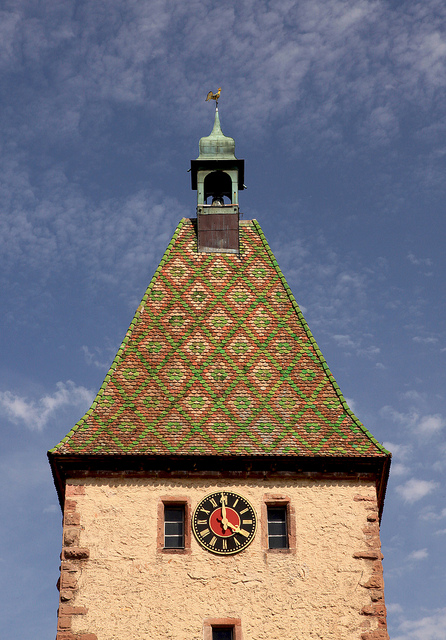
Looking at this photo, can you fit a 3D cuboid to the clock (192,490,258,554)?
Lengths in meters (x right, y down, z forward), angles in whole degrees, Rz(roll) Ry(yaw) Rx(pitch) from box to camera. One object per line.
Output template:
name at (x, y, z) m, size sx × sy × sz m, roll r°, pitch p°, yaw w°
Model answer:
clock at (-0.011, 3.738, 31.229) m, size 1.108 × 1.196 × 0.204 m, roll 3°, pitch -45°, yaw 3°
